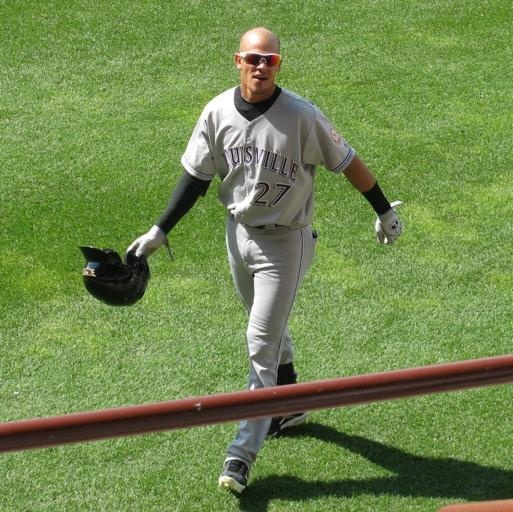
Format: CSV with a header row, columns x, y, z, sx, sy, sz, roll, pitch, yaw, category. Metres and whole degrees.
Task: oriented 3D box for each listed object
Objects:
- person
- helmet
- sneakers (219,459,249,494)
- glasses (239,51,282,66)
x,y,z,sx,sy,sz,roll,pitch,yaw,category
0.040,-0.256,5.641,1.303,1.750,0.713,3,23,7,person
-0.727,0.088,5.629,0.357,0.333,0.210,-9,25,-19,helmet
-0.116,1.134,5.561,0.138,0.143,0.116,6,24,13,sneakers
0.016,-1.007,5.481,0.200,0.067,0.112,0,24,0,glasses
